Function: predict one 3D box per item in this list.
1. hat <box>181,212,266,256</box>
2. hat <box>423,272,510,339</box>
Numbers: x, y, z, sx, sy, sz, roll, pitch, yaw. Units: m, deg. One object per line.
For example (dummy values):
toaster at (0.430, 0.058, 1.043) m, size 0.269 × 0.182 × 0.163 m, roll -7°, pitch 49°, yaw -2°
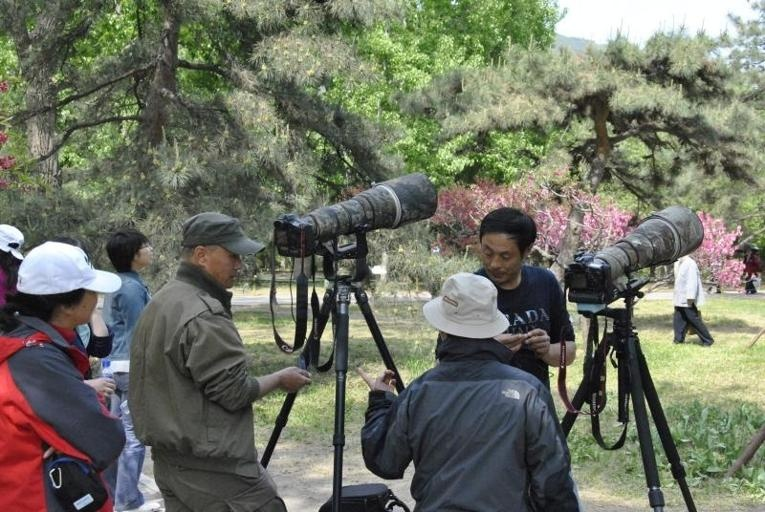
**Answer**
hat at (-1.519, -0.217, 8.680) m, size 0.807 × 0.445 × 0.563 m, roll -1°, pitch 0°, yaw 7°
hat at (0.678, 0.431, 8.082) m, size 0.585 × 0.337 × 0.591 m, roll -16°, pitch 29°, yaw -38°
